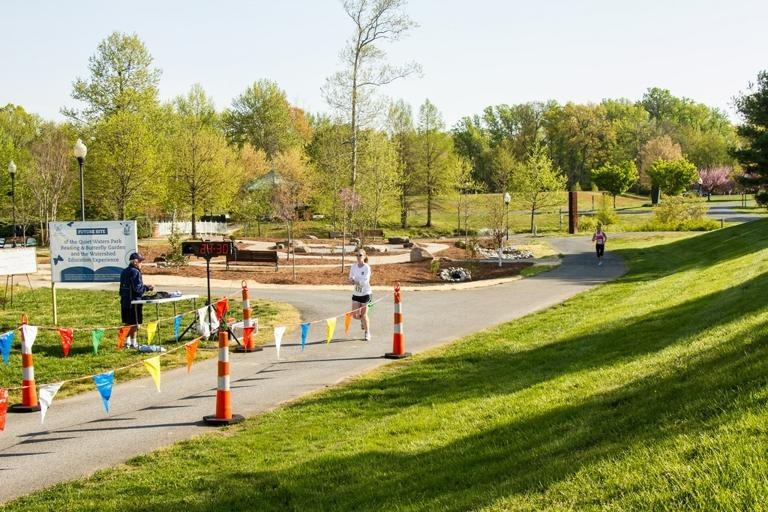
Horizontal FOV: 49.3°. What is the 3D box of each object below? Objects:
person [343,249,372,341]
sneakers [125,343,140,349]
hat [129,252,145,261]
[{"bbox_3d":[-0.625,1.041,22.460,0.531,2.540,0.973,-4,14,-2],"label":"person"},{"bbox_3d":[-6.416,2.278,21.106,0.388,0.176,0.135,-3,3,0],"label":"sneakers"},{"bbox_3d":[-6.564,0.028,21.879,0.419,0.244,0.310,-2,7,26],"label":"hat"}]
